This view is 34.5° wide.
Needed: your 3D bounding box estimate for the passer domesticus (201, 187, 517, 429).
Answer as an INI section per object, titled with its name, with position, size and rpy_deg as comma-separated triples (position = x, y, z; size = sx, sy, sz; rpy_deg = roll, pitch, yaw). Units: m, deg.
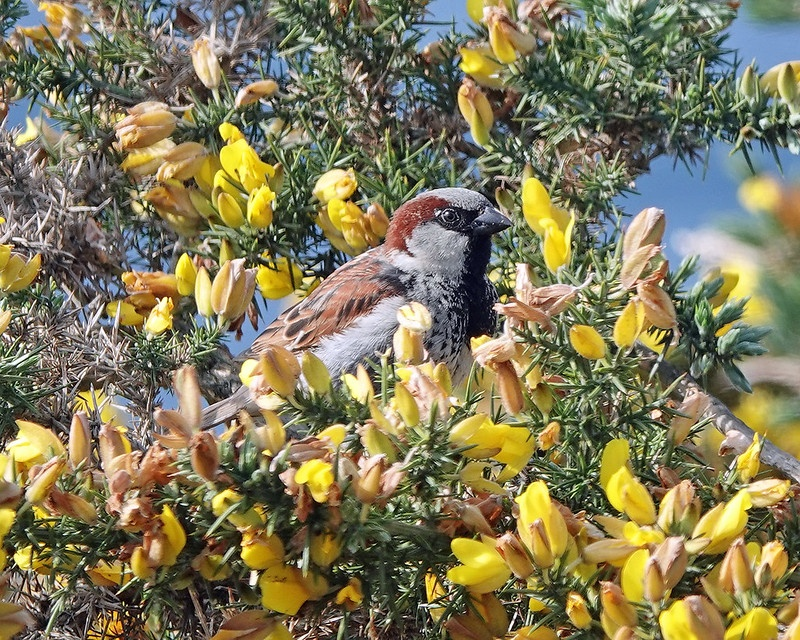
[passer domesticus]
position = -0.125, 0.022, 3.077
size = 0.921, 0.578, 0.491
rpy_deg = -7, 0, 28
